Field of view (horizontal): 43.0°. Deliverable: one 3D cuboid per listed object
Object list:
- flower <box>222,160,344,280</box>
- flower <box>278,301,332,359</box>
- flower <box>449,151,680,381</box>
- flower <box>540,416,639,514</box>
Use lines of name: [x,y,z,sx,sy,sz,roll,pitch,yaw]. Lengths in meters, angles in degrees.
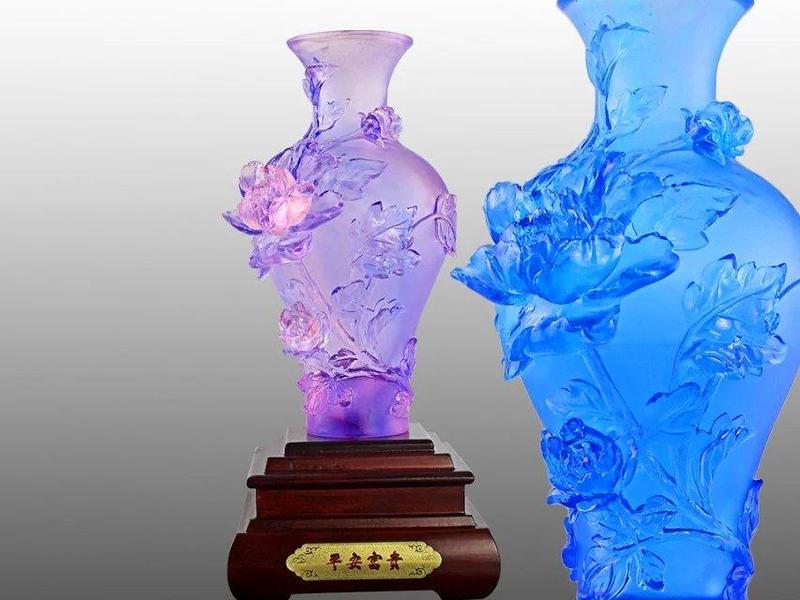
flower: [-0.225,-0.172,2.153,0.277,0.212,0.128,-7,-18,25]
flower: [-0.214,0.067,2.196,0.078,0.117,0.105,7,-15,-31]
flower: [0.281,-0.073,1.713,0.355,0.393,0.110,-6,-15,20]
flower: [0.342,0.304,1.812,0.184,0.085,0.217,15,-36,-27]
